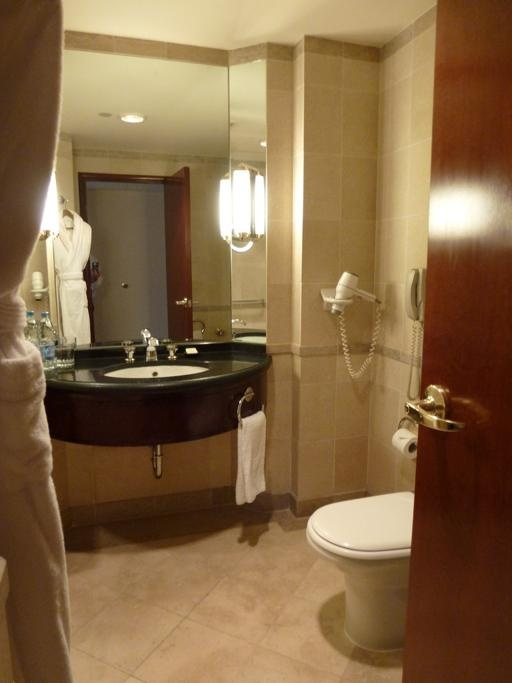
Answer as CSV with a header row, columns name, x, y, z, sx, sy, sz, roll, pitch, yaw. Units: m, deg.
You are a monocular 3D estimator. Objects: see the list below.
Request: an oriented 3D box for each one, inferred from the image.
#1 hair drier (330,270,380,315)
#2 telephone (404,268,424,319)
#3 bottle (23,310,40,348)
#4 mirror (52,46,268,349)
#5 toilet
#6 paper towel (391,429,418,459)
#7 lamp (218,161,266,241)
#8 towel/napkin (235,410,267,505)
name,x,y,z,sx,sy,sz,roll,pitch,yaw
hair drier,0.393,-0.189,2.151,0.187,0.164,0.122,3,9,18
telephone,0.548,-0.157,1.863,0.060,0.179,0.069,1,8,8
bottle,-0.817,-0.044,1.979,0.047,0.125,0.157,-3,9,-22
mirror,-0.394,-0.607,2.140,0.677,1.084,0.017,-4,9,-23
toilet,0.314,0.662,1.618,0.398,0.377,0.334,-3,8,-10
paper towel,0.532,0.363,1.941,0.081,0.093,0.189,2,9,16
lamp,-0.046,-0.544,2.227,0.145,0.350,0.120,-2,11,-26
towel/napkin,-0.010,0.447,2.112,0.070,0.329,0.233,4,9,24
